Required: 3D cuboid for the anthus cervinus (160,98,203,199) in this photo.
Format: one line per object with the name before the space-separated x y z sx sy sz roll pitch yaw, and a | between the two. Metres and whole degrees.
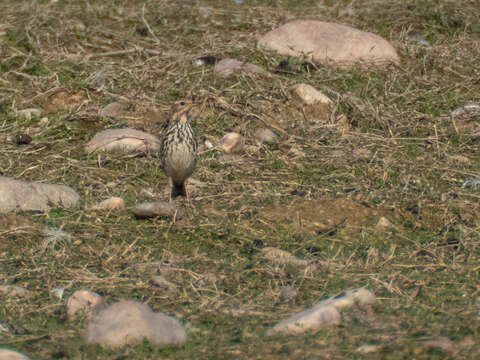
anthus cervinus | -0.828 -0.365 10.732 0.470 1.379 0.489 0 34 -6
